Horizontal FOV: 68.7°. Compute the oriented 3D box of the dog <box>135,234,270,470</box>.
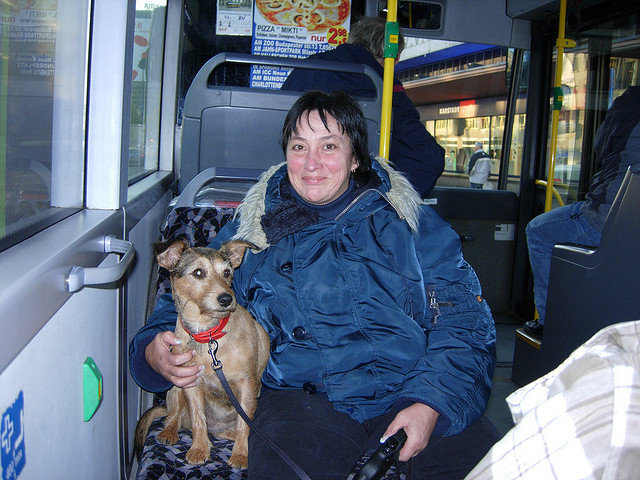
[{"bbox_3d":[-0.495,0.457,2.091,0.572,0.945,0.668,1,8,-12],"label":"dog"}]

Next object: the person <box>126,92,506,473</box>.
[{"bbox_3d":[0.133,0.097,1.763,1.103,1.297,0.916,6,12,24],"label":"person"}]

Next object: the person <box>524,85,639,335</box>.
[{"bbox_3d":[2.106,-0.196,3.765,0.483,1.949,0.974,-4,12,-23],"label":"person"}]

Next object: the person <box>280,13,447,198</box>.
[{"bbox_3d":[0.370,-1.077,3.643,0.862,1.123,1.681,0,17,-7],"label":"person"}]
